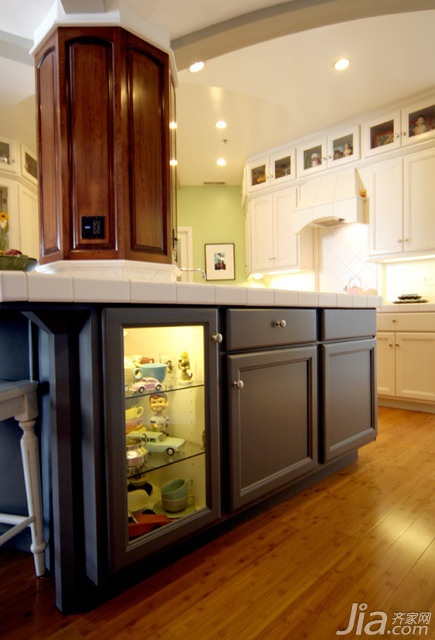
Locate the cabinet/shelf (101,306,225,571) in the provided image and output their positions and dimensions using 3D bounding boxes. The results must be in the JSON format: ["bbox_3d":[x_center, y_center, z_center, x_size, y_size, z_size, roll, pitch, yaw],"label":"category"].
[{"bbox_3d":[-0.198,0.306,1.384,0.344,0.662,0.291,-1,-2,-37],"label":"cabinet/shelf"}]

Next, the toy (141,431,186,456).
[{"bbox_3d":[-0.158,0.361,1.392,0.097,0.033,0.060,1,7,9],"label":"toy"}]
